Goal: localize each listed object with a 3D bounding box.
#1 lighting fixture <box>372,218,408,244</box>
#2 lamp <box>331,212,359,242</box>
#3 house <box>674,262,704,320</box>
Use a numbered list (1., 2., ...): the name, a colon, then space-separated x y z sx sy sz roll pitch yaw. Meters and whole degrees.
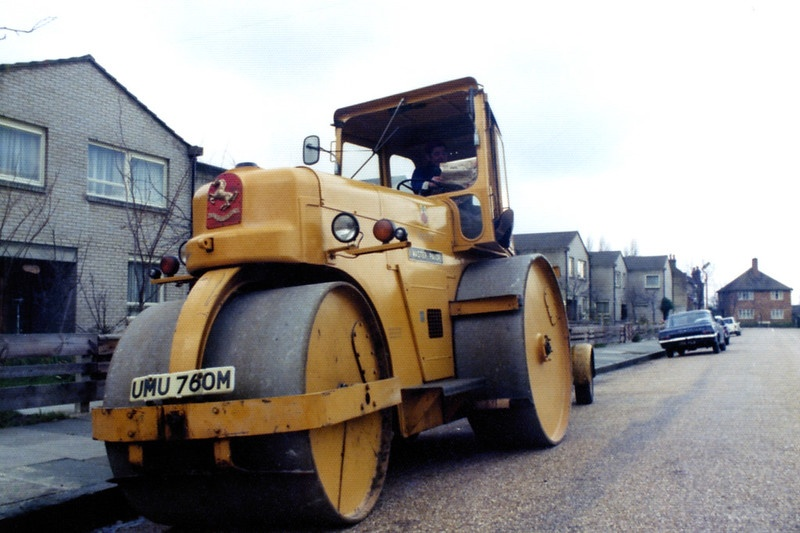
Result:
1. lighting fixture: -0.094 -0.307 6.069 0.327 0.226 0.185 12 14 3
2. lamp: -0.505 -0.347 5.920 0.278 0.254 0.179 3 -3 10
3. house: 42.030 3.318 95.588 4.286 7.207 7.366 -1 -5 42
